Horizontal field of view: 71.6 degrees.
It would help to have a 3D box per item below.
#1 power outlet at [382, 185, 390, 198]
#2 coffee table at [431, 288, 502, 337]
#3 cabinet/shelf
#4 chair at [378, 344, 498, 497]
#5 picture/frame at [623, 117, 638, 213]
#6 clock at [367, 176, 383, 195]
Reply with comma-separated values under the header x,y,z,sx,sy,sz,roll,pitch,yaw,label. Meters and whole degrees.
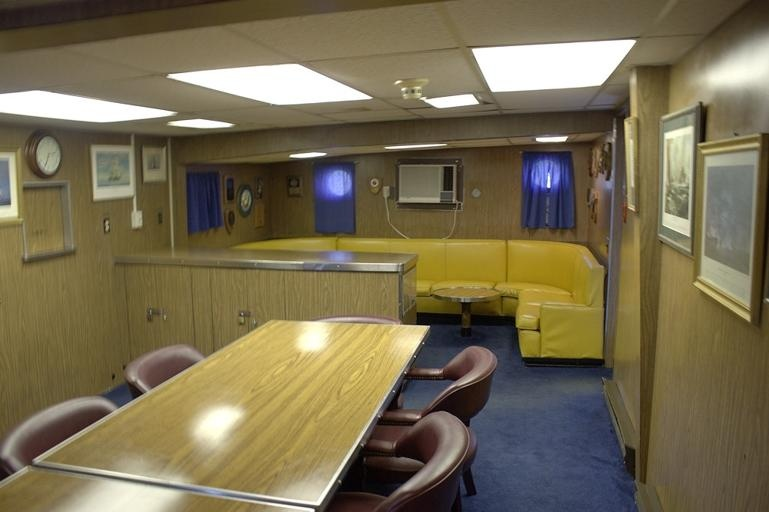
x,y,z,sx,sy,sz,roll,pitch,yaw,label
0.023,-0.936,7.829,0.122,0.178,0.063,-3,13,-3,power outlet
1.029,0.652,6.586,0.738,0.551,0.846,5,14,28,coffee table
-1.286,0.659,5.525,2.869,1.336,0.953,2,3,2,cabinet/shelf
0.319,0.869,3.104,0.835,0.935,0.740,1,4,8,chair
1.717,-0.614,3.718,0.091,0.683,0.995,3,14,23,picture/frame
-0.149,-1.055,7.843,0.188,0.232,0.062,3,5,17,clock
